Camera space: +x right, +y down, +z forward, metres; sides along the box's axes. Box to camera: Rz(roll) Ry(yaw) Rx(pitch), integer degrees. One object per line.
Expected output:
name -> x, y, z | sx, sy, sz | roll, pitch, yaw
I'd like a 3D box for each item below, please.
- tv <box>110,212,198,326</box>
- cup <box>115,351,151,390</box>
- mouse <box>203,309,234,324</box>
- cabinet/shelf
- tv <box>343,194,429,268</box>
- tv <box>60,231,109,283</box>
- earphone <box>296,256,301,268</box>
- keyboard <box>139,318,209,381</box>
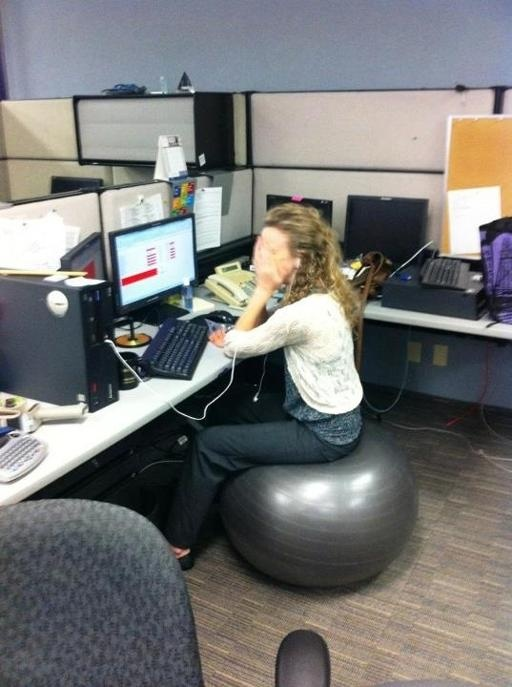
tv -> -0.356, -0.256, 1.849 | 0.035, 0.253, 0.396 | 10, 26, 25
cup -> -0.327, 0.083, 1.508 | 0.106, 0.087, 0.057 | 0, 9, -6
mouse -> -0.126, -0.097, 1.940 | 0.055, 0.027, 0.070 | 16, 26, 20
cabinet/shelf -> -0.458, -0.986, 2.542 | 0.777, 0.339, 0.339 | 12, 23, 34
tv -> 0.583, -0.495, 2.372 | 0.356, 0.284, 0.038 | 10, 22, 21
tv -> -0.506, -0.255, 1.588 | 0.028, 0.136, 0.200 | 14, 22, 12
earphone -> 0.119, -0.225, 1.509 | 0.017, 0.023, 0.006 | -1, -1, 35
keyboard -> -0.254, -0.008, 1.716 | 0.155, 0.036, 0.348 | 12, -25, -17
